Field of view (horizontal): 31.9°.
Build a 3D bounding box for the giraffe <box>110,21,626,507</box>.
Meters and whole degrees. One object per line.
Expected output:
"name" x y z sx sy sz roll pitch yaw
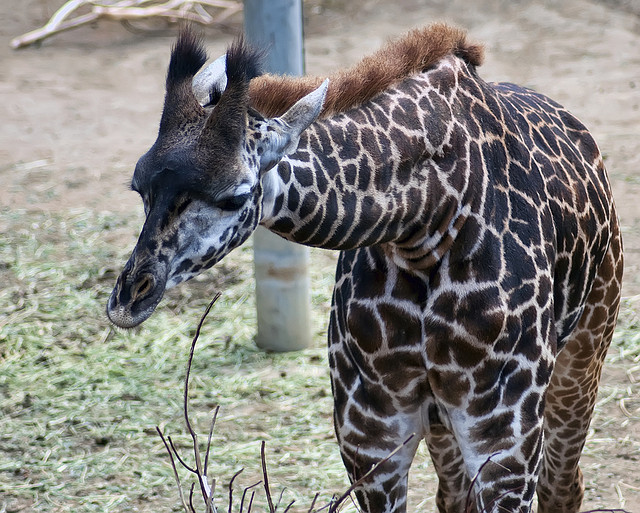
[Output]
"giraffe" 0.302 0.231 4.330 2.092 2.190 0.941 -3 24 -13
